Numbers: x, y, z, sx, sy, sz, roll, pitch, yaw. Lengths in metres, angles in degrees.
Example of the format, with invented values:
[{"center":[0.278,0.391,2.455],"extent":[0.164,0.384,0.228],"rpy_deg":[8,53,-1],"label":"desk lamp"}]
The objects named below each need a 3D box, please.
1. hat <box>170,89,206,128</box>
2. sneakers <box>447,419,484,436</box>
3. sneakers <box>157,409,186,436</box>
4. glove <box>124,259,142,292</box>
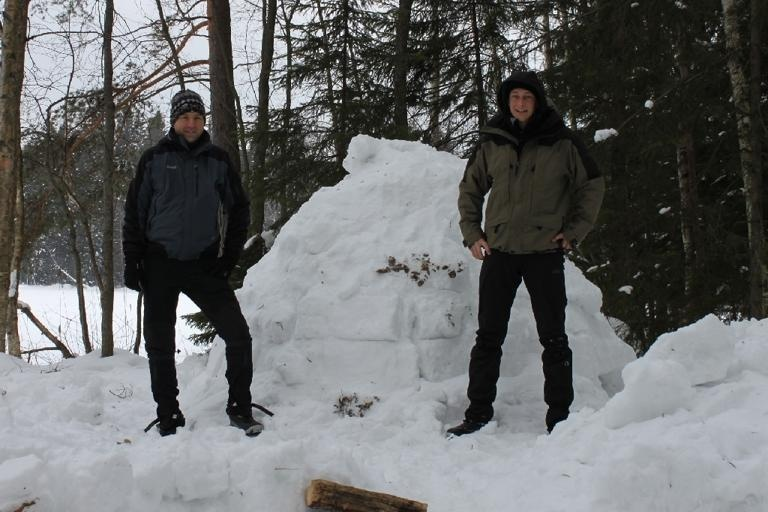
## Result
[{"center":[-2.394,-1.809,9.571],"extent":[0.409,0.430,0.267],"rpy_deg":[-4,2,-15],"label":"hat"},{"center":[0.975,2.103,9.664],"extent":[0.487,0.208,0.181],"rpy_deg":[5,-14,-13],"label":"sneakers"},{"center":[-2.543,1.983,9.427],"extent":[0.217,0.292,0.306],"rpy_deg":[1,-30,-22],"label":"sneakers"},{"center":[-3.015,0.238,9.492],"extent":[0.225,0.321,0.320],"rpy_deg":[3,-29,-2],"label":"glove"}]
